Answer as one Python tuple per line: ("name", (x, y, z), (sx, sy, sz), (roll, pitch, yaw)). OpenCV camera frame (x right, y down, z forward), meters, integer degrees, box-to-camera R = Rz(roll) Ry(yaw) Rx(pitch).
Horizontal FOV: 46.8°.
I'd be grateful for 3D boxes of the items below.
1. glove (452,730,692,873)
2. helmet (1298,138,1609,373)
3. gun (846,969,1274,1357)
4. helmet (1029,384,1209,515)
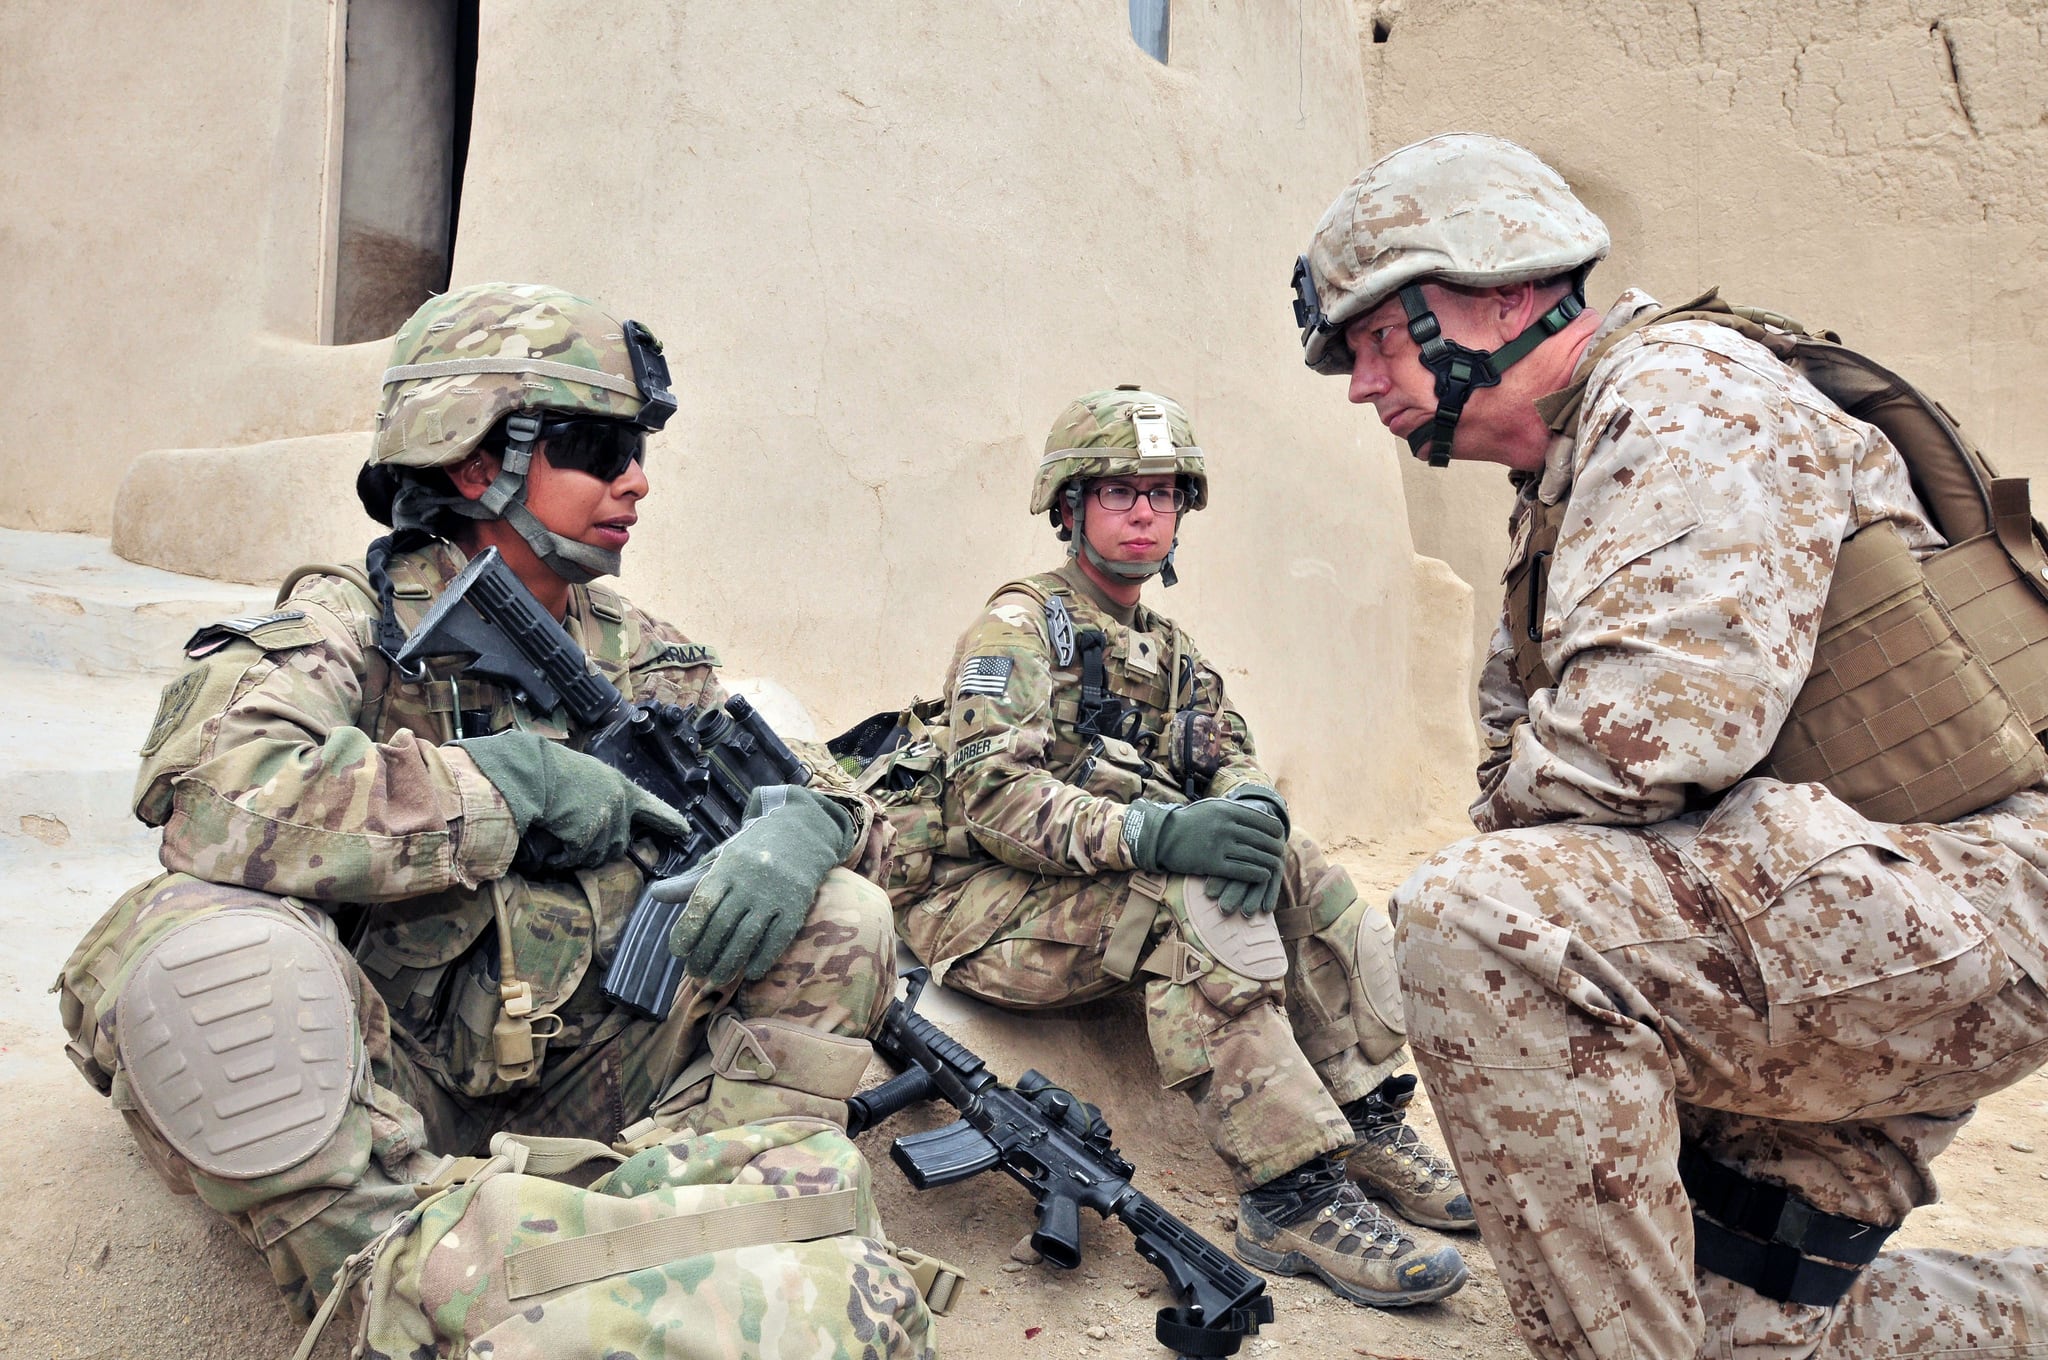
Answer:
("glove", (-1.174, 0.301, 6.107), (0.498, 0.283, 0.162), (28, -38, -33))
("helmet", (1.139, -1.140, 6.366), (0.593, 0.398, 0.588), (-10, 4, 26))
("gun", (0.089, 1.341, 6.498), (1.279, 0.189, 0.434), (33, 61, 18))
("helmet", (0.289, -0.692, 7.472), (0.421, 0.339, 0.444), (-1, 1, -17))
